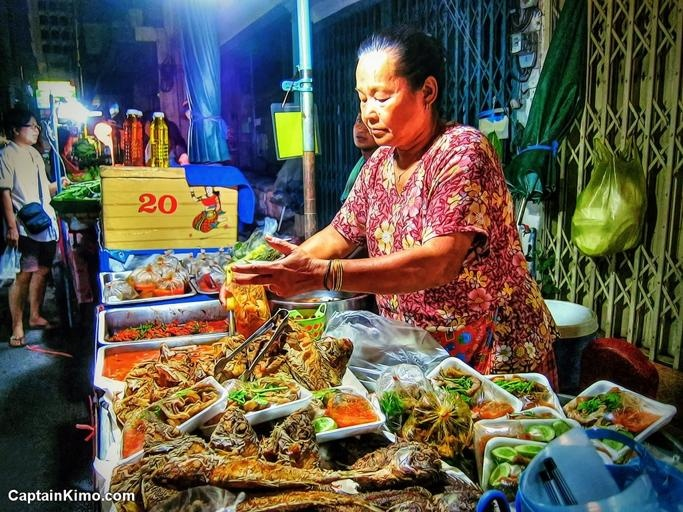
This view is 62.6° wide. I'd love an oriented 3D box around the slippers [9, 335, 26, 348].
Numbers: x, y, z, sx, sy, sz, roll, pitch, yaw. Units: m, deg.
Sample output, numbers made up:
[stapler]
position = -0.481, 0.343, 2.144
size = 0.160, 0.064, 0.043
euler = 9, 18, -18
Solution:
[slippers]
position = -3.591, 0.958, 6.222
size = 0.163, 0.097, 0.176
euler = -7, 14, -25
